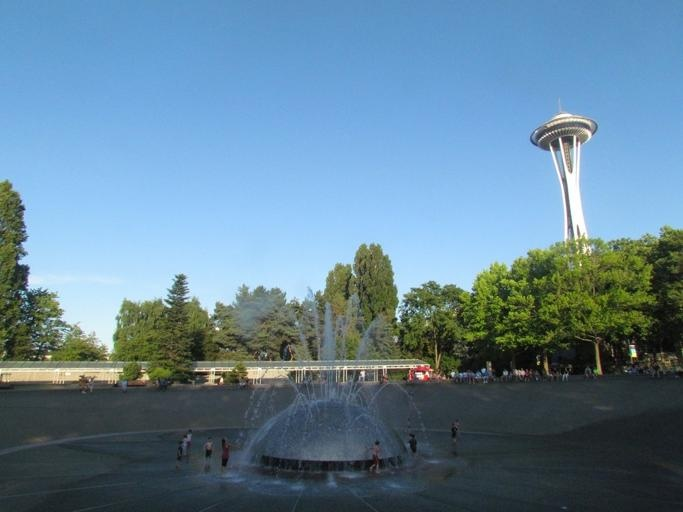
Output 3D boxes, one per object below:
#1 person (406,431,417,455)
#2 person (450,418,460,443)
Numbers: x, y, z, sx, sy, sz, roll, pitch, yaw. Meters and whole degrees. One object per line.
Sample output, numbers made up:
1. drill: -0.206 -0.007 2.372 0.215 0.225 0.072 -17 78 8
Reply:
1. person: 3.717 9.710 27.859 0.458 1.107 1.513 0 -4 8
2. person: 6.630 10.041 31.017 0.428 1.231 2.264 -1 -4 12
